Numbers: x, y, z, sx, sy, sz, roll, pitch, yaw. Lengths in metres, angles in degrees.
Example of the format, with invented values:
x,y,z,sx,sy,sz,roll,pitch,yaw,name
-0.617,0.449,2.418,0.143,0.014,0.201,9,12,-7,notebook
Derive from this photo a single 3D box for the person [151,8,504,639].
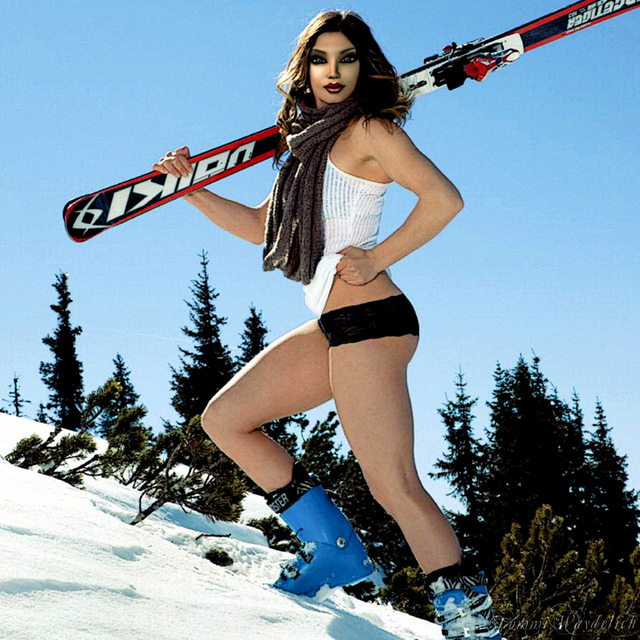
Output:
x,y,z,sx,sy,sz,roll,pitch,yaw,name
0.218,-0.056,4.035,1.311,2.920,0.982,11,-13,-6,person

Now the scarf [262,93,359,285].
x,y,z,sx,sy,sz,roll,pitch,yaw,name
-0.022,-0.620,4.212,0.622,0.916,0.514,1,10,36,scarf

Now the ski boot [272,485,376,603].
x,y,z,sx,sy,sz,roll,pitch,yaw,name
0.027,1.110,4.103,0.487,0.584,0.304,8,-12,3,ski boot
